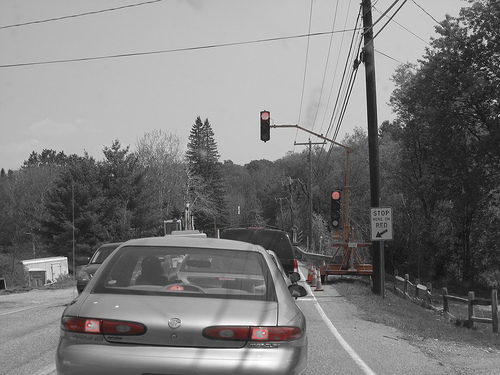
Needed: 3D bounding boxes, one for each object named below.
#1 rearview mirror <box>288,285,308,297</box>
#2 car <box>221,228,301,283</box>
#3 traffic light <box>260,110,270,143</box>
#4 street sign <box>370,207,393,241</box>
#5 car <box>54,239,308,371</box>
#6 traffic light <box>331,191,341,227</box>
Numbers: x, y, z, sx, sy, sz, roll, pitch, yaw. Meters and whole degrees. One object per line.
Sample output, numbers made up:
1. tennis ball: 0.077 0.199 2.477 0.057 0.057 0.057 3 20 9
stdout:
1. rearview mirror: 0.730 1.556 7.558 0.263 0.135 0.229 -1 -4 -1
2. car: 0.334 2.131 15.889 2.213 1.501 1.427 -1 -2 4
3. traffic light: 0.664 -2.704 21.879 0.355 1.435 0.387 -1 -6 0
4. street sign: 4.531 1.218 17.359 0.791 1.382 0.118 0 24 17
5. car: -0.847 1.374 6.090 2.785 1.547 2.537 3 -9 -24
6. traffic light: 3.655 0.911 21.388 0.396 1.499 0.509 -2 -6 9
